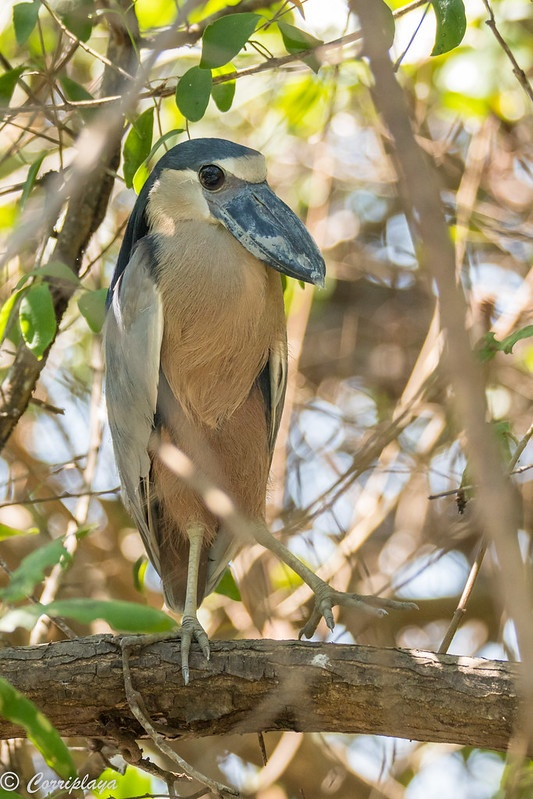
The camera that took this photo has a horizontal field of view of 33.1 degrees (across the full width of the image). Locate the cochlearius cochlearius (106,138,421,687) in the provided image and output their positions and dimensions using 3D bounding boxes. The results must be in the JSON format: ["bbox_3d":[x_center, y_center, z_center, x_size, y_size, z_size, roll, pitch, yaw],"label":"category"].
[{"bbox_3d":[-0.120,-0.011,2.440,0.563,1.407,0.773,7,-13,-22],"label":"cochlearius cochlearius"}]
